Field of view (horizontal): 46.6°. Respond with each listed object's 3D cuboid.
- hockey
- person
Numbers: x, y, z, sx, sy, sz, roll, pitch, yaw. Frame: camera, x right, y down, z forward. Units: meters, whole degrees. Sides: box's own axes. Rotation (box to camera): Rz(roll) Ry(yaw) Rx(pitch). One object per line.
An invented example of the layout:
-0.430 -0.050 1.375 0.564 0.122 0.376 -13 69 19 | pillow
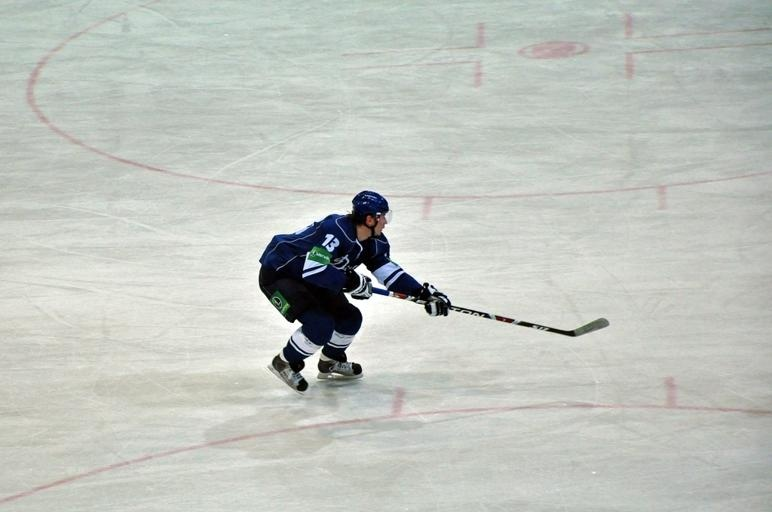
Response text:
0.857 0.491 7.538 2.560 0.131 0.141 7 66 -6 | hockey
-0.373 0.273 6.924 1.555 1.572 1.017 -12 41 -9 | person
